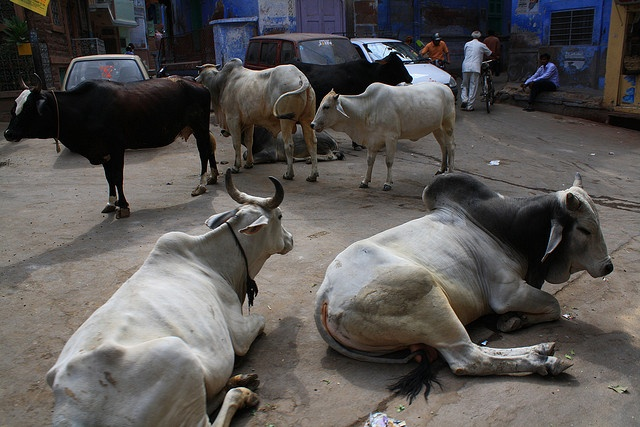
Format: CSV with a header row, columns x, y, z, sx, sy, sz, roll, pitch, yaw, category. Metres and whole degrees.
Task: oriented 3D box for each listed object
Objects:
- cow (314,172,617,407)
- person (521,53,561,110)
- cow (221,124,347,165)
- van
x,y,z,sx,sy,sz,roll,pitch,yaw,category
1.286,0.508,3.768,2.258,1.159,1.608,-18,24,-26,cow
7.086,-4.264,14.747,0.943,1.711,1.315,19,26,41,person
-0.681,-1.308,9.514,2.350,1.118,0.822,1,23,-4,cow
-0.568,-4.137,11.414,1.420,1.169,2.158,-23,32,-38,van
